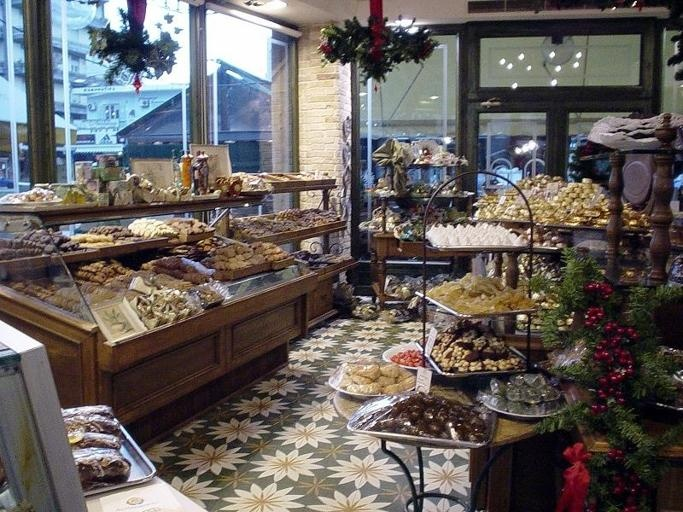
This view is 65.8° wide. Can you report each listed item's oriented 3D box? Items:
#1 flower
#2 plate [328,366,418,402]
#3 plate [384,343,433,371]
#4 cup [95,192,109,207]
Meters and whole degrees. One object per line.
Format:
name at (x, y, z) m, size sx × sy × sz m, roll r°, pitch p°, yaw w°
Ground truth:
flower at (0.309, -1.790, 4.543) m, size 0.979 × 0.530 × 0.411 m, roll 0°, pitch 13°, yaw -2°
plate at (0.155, 0.589, 2.484) m, size 0.257 × 0.033 × 0.195 m, roll -4°, pitch 9°, yaw -18°
plate at (0.357, 0.537, 2.788) m, size 0.308 × 0.058 × 0.264 m, roll -3°, pitch 10°, yaw -2°
cup at (-1.411, -0.335, 3.133) m, size 0.050 × 0.076 × 0.097 m, roll 5°, pitch 13°, yaw 17°
